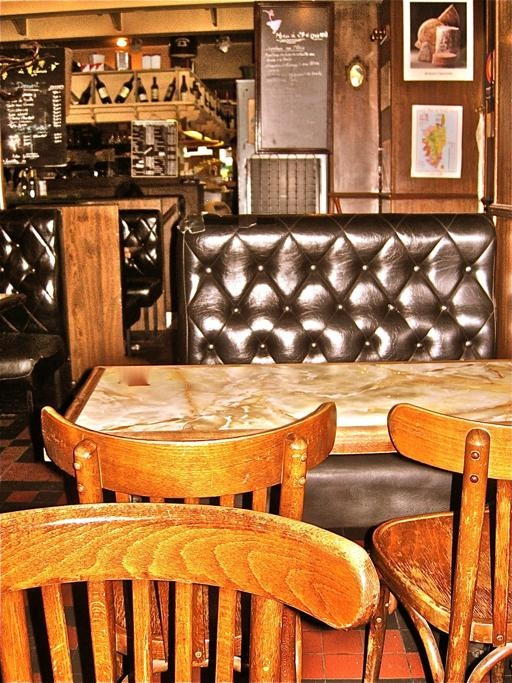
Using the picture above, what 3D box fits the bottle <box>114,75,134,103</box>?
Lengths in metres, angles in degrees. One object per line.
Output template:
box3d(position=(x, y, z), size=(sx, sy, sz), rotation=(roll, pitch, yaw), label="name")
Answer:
box3d(position=(-1.928, -3.631, 8.788), size=(0.277, 0.442, 0.278), rotation=(-1, 7, 0), label="bottle")

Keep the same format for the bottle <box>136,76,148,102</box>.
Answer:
box3d(position=(-1.677, -3.635, 8.799), size=(0.163, 0.430, 0.326), rotation=(-2, 7, -10), label="bottle")

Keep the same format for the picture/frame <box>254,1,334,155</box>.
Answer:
box3d(position=(0.300, -2.089, 4.845), size=(0.591, 1.094, 0.074), rotation=(-1, 7, 0), label="picture/frame")

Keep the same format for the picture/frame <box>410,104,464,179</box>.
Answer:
box3d(position=(1.500, -1.684, 5.032), size=(0.617, 0.769, 0.070), rotation=(0, 9, 4), label="picture/frame")

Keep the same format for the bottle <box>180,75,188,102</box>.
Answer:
box3d(position=(-1.068, -3.678, 8.813), size=(0.111, 0.398, 0.229), rotation=(-1, 7, -7), label="bottle")

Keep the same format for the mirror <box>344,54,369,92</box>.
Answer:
box3d(position=(0.874, -2.370, 5.323), size=(0.295, 0.380, 0.033), rotation=(-2, 21, -1), label="mirror")

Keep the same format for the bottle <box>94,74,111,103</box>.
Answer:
box3d(position=(-2.242, -3.642, 8.811), size=(0.236, 0.441, 0.326), rotation=(-2, 7, -13), label="bottle")
